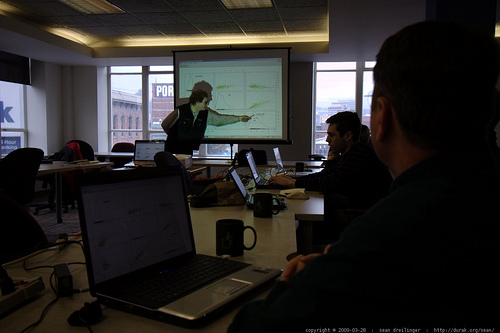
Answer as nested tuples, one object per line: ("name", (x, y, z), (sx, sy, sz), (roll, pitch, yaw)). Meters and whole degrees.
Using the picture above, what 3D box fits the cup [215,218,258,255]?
("cup", (-0.029, 0.254, 1.450), (0.181, 0.109, 0.101), (0, 0, 7))

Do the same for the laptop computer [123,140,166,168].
("laptop computer", (-1.285, -0.143, 5.320), (0.451, 0.334, 0.578), (25, 16, 23))

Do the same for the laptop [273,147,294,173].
("laptop", (0.344, -0.047, 4.348), (0.275, 0.222, 0.354), (-4, 4, 5))

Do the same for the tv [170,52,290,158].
("tv", (-0.298, -0.954, 5.671), (1.858, 1.431, 0.298), (0, 1, 6))

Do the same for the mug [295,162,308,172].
("mug", (0.553, 0.005, 4.162), (0.121, 0.101, 0.072), (2, 0, 1))

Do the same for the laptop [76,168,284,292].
("laptop", (-0.225, 0.194, 1.123), (0.431, 0.275, 0.410), (-2, -2, 31))

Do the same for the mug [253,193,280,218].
("mug", (0.086, 0.204, 1.976), (0.161, 0.102, 0.093), (0, -6, 18))

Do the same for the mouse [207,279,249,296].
("mouse", (-0.061, 0.339, 1.097), (0.073, 0.020, 0.105), (-3, 7, 39))

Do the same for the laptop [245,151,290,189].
("laptop", (0.142, 0.026, 3.115), (0.331, 0.209, 0.293), (-1, 6, 6))

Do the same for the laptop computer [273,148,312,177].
("laptop computer", (0.424, -0.051, 4.133), (0.323, 0.185, 0.303), (1, 1, 6))

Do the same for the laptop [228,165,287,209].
("laptop", (0.033, 0.103, 2.319), (0.286, 0.162, 0.281), (-3, 7, 2))

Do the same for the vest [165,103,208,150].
("vest", (-0.922, -0.580, 5.655), (0.691, 0.831, 0.475), (7, -4, -17))

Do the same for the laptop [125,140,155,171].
("laptop", (-1.379, -0.169, 5.243), (0.491, 0.310, 0.386), (2, 12, -3))
